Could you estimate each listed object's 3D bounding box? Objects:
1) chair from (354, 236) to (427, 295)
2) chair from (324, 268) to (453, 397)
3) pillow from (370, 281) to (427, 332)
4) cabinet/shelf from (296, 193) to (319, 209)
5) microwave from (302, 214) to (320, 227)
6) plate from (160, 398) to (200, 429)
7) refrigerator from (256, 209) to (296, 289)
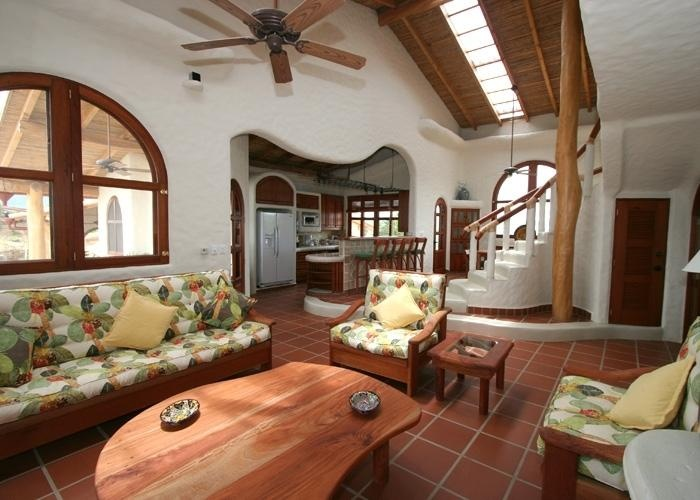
[{"bbox_3d":[0.596,0.219,6.776,0.371,0.545,1.203,6,5,36],"label":"chair"},{"bbox_3d":[0.544,0.816,5.130,1.472,1.055,1.385,3,7,32],"label":"chair"},{"bbox_3d":[0.566,0.683,4.891,0.501,0.466,0.147,-36,-32,14],"label":"pillow"},{"bbox_3d":[-1.139,-1.259,10.855,0.087,0.266,0.613,4,3,38],"label":"cabinet/shelf"},{"bbox_3d":[-1.035,-0.764,10.903,0.337,0.320,0.575,1,2,34],"label":"microwave"},{"bbox_3d":[-1.351,1.287,3.334,0.212,0.047,0.193,-5,19,-20],"label":"plate"},{"bbox_3d":[-1.668,-0.039,9.276,0.407,1.729,1.076,2,2,30],"label":"refrigerator"}]
